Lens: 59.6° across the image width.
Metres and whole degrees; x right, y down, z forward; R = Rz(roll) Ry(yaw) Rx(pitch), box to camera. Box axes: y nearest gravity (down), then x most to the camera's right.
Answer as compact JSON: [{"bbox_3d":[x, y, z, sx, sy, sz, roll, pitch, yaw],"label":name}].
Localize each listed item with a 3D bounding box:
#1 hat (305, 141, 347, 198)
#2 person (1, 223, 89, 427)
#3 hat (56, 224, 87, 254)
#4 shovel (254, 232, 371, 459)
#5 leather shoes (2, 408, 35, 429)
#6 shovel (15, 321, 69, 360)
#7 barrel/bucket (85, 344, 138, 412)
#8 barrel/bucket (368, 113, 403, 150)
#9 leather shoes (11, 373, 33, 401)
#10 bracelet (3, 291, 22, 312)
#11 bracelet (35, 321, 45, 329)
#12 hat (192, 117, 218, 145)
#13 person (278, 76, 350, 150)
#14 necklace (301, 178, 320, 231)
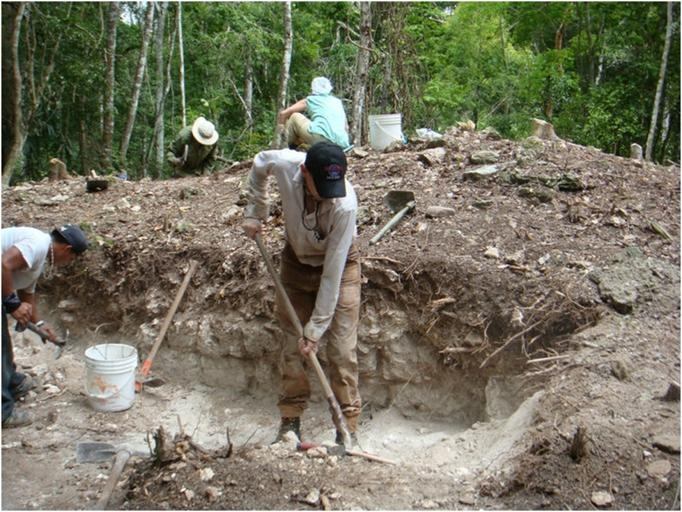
[{"bbox_3d":[-0.156,-0.884,5.925,0.343,0.569,0.312,-6,-23,-16],"label":"hat"},{"bbox_3d":[-3.429,0.746,6.775,0.717,2.266,0.646,0,10,-25],"label":"person"},{"bbox_3d":[-2.978,-0.209,6.688,0.352,0.191,0.254,46,6,-4],"label":"hat"},{"bbox_3d":[-0.347,0.904,6.527,0.615,2.082,1.562,-3,12,-40],"label":"shovel"},{"bbox_3d":[-3.638,1.823,6.714,0.326,0.164,0.121,-13,19,-21],"label":"leather shoes"},{"bbox_3d":[-3.913,1.119,7.750,0.556,0.377,0.187,40,16,-6],"label":"shovel"},{"bbox_3d":[-2.749,1.449,7.140,0.582,0.718,0.474,1,10,-23],"label":"barrel/bucket"},{"bbox_3d":[0.738,-1.886,9.017,0.507,0.557,0.532,-2,9,0],"label":"barrel/bucket"},{"bbox_3d":[-3.751,1.543,7.029,0.114,0.142,0.296,-2,13,-1],"label":"leather shoes"},{"bbox_3d":[-3.612,0.497,6.568,0.142,0.187,0.183,9,29,2],"label":"bracelet"},{"bbox_3d":[-3.451,0.791,6.824,0.081,0.064,0.084,0,-4,2],"label":"bracelet"},{"bbox_3d":[-2.340,-2.138,10.211,0.424,0.469,0.389,2,10,-19],"label":"hat"},{"bbox_3d":[-0.441,-1.894,8.488,0.916,1.250,1.112,9,10,-6],"label":"person"},{"bbox_3d":[-0.309,-0.497,6.092,0.202,0.432,0.239,1,13,12],"label":"necklace"}]
